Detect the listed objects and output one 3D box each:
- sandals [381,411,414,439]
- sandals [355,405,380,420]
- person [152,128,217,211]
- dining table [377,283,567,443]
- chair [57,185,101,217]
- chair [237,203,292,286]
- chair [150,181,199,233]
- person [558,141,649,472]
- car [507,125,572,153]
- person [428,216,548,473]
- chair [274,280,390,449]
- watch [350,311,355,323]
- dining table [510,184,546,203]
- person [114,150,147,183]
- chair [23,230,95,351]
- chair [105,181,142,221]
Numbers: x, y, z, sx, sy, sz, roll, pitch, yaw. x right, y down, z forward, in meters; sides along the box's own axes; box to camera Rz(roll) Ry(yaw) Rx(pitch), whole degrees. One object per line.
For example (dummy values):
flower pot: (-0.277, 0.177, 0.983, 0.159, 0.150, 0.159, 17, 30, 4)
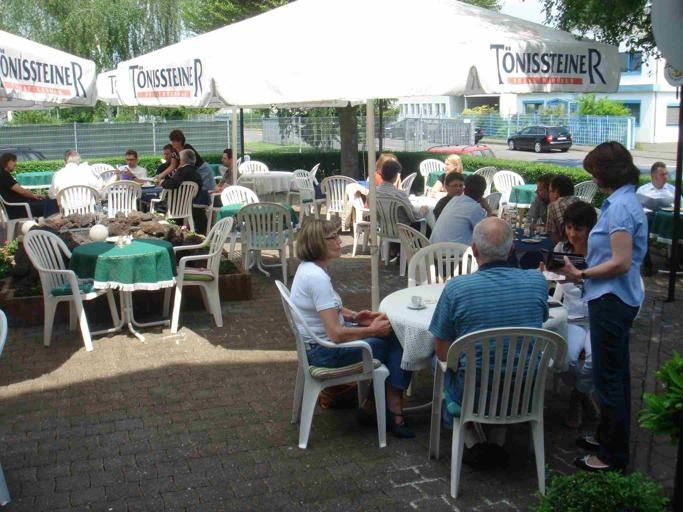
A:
sandals: (0.424, 1.295, 4.422, 0.114, 0.115, 0.285, -4, 11, -32)
sandals: (0.199, 1.274, 4.682, 0.099, 0.111, 0.132, 0, -5, -17)
person: (-3.069, -1.635, 11.489, 1.056, 1.697, 0.551, -10, 17, -18)
dining table: (0.791, 0.775, 4.780, 1.067, 0.696, 1.108, -17, 25, -32)
chair: (-4.529, -0.949, 10.012, 0.606, 0.944, 0.706, -6, 12, -27)
chair: (-1.126, -0.178, 8.407, 0.789, 1.401, 1.005, 1, 41, -1)
chair: (-3.056, -1.111, 10.938, 0.802, 1.236, 0.923, -11, 37, -30)
person: (1.740, 0.368, 3.889, 0.529, 2.197, 0.814, 7, 16, 28)
car: (12.403, -7.443, 36.910, 1.751, 1.318, 3.798, -7, 16, -33)
person: (0.956, 0.627, 3.828, 0.761, 1.718, 0.404, 0, 14, 3)
chair: (-0.050, 0.797, 5.001, 1.107, 1.576, 1.026, -3, 5, -7)
watch: (0.089, 0.501, 4.741, 0.041, 0.062, 0.057, 1, -16, 0)
dining table: (3.760, -1.278, 11.987, 0.659, 0.362, 0.678, 0, 11, 2)
person: (-4.486, -1.850, 12.309, 0.553, 0.745, 0.742, 8, 23, -1)
chair: (-2.985, 0.329, 6.218, 0.595, 1.174, 1.075, -8, 16, -28)
chair: (-3.832, -0.972, 10.158, 0.570, 0.954, 0.743, -3, 36, -23)
